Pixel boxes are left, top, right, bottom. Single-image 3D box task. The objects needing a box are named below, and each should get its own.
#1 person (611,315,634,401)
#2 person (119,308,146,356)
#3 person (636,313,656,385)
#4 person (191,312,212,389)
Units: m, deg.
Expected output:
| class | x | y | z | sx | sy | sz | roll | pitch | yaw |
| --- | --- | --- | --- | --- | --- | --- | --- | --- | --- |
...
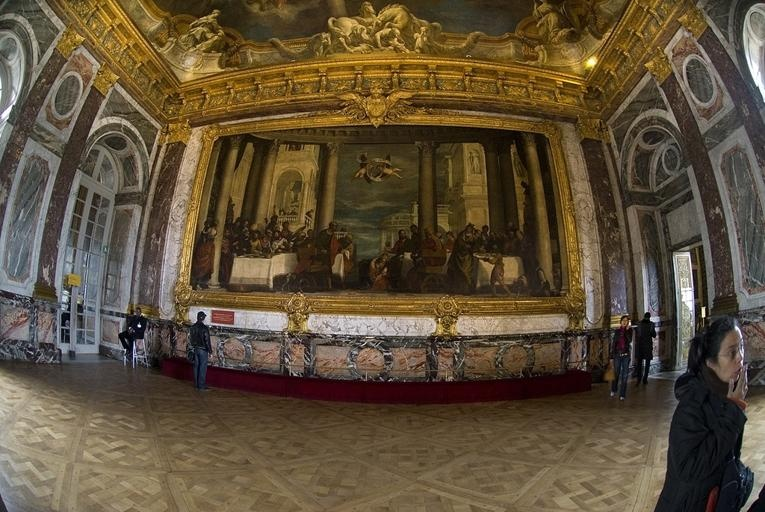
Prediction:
| class | x | y | z | sx | sy | sz | roll | pitch | yaw |
| --- | --- | --- | --- | --- | --- | --- | --- | --- | --- |
| person | 4.900 | 2.117 | 8.121 | 0.348 | 1.806 | 1.005 | 7 | 9 | 32 |
| person | -6.487 | 2.051 | 10.317 | 0.588 | 1.248 | 0.935 | -1 | 8 | -24 |
| person | 6.111 | 2.162 | 9.207 | 0.288 | 1.619 | 0.802 | 7 | 9 | 34 |
| person | -3.961 | 2.109 | 8.605 | 0.371 | 1.702 | 0.604 | -2 | 9 | -31 |
